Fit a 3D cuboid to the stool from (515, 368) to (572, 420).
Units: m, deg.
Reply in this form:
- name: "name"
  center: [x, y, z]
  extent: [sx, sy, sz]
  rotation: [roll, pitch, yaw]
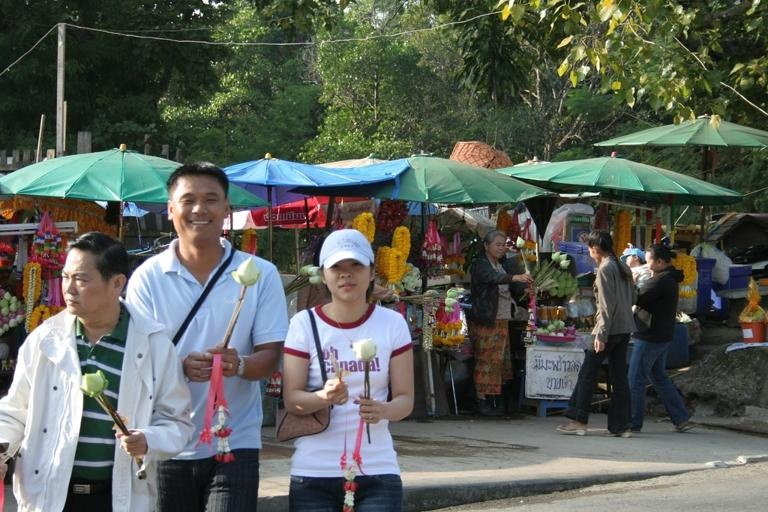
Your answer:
- name: "stool"
  center: [2.617, 2.277, 18.129]
  extent: [0.748, 0.706, 0.737]
  rotation: [3, -5, -35]

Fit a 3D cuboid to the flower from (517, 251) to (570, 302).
- name: "flower"
  center: [2.629, 0.322, 17.950]
  extent: [0.825, 0.614, 0.429]
  rotation: [-14, -48, 1]

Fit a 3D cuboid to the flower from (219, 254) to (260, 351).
- name: "flower"
  center: [-1.495, 0.498, 11.836]
  extent: [0.350, 0.935, 0.491]
  rotation: [4, 13, 4]

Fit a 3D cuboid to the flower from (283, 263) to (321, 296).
- name: "flower"
  center: [-1.195, 0.365, 16.416]
  extent: [0.573, 0.204, 0.228]
  rotation: [-25, -48, 11]

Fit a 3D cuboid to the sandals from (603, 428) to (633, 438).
- name: "sandals"
  center: [3.487, 2.662, 16.686]
  extent: [0.374, 0.156, 0.142]
  rotation: [2, -5, 19]

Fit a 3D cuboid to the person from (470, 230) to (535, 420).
- name: "person"
  center: [1.798, 1.130, 17.834]
  extent: [0.915, 3.013, 0.722]
  rotation: [-6, 16, -33]

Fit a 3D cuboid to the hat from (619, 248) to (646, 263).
- name: "hat"
  center: [4.119, -0.029, 18.347]
  extent: [0.349, 0.177, 0.252]
  rotation: [4, -12, -6]

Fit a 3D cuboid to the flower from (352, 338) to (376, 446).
- name: "flower"
  center: [-0.210, 1.176, 11.761]
  extent: [0.256, 0.659, 0.286]
  rotation: [3, 14, -1]

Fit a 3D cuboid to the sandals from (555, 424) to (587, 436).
- name: "sandals"
  center: [2.788, 2.580, 16.622]
  extent: [0.432, 0.188, 0.161]
  rotation: [5, -7, 14]
